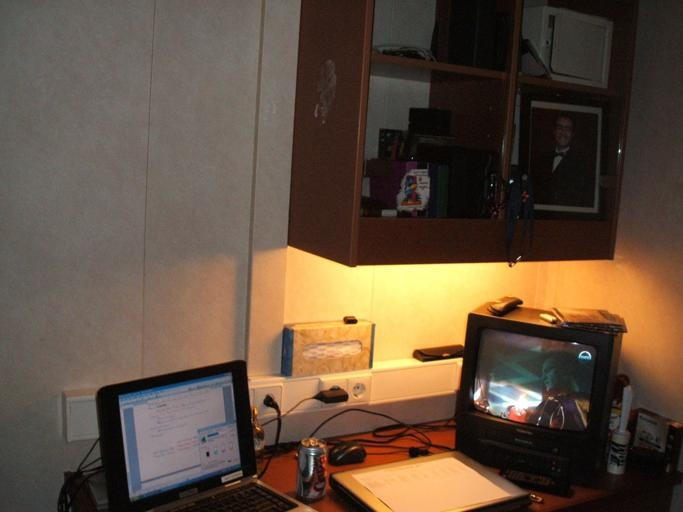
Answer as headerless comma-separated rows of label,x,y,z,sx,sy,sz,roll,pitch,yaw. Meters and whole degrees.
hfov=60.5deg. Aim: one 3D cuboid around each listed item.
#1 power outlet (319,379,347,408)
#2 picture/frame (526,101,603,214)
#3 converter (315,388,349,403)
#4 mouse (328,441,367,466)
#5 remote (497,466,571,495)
power outlet,-0.030,0.500,2.105,0.097,0.042,0.054,-3,8,-31
picture/frame,0.814,-0.375,2.162,0.378,0.538,0.036,-2,3,-25
converter,-0.035,0.489,2.109,0.099,0.038,0.054,-2,6,-33
mouse,0.021,0.674,1.992,0.091,0.033,0.068,1,2,-22
remote,0.638,0.741,1.935,0.163,0.038,0.093,7,11,28
